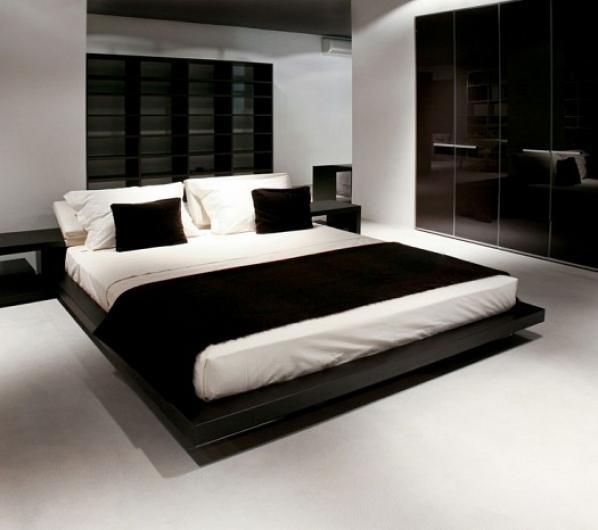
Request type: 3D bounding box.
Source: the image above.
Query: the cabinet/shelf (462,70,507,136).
[{"bbox_3d":[1.994,-1.699,4.933,0.166,0.673,0.397,-12,18,-39],"label":"cabinet/shelf"}]

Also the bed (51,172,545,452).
[{"bbox_3d":[-0.132,0.227,3.169,2.500,0.527,2.149,-8,16,-29],"label":"bed"}]

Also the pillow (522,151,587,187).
[{"bbox_3d":[2.438,-0.945,4.447,0.086,0.385,0.371,-13,17,-40],"label":"pillow"}]
